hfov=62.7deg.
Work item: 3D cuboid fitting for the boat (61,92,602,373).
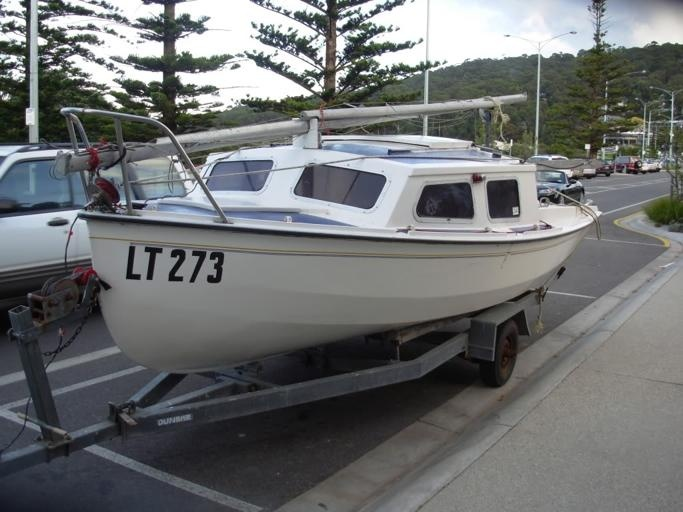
[{"bbox_3d":[0.175,-0.247,6.428,5.853,2.008,2.390,-2,3,-36],"label":"boat"}]
